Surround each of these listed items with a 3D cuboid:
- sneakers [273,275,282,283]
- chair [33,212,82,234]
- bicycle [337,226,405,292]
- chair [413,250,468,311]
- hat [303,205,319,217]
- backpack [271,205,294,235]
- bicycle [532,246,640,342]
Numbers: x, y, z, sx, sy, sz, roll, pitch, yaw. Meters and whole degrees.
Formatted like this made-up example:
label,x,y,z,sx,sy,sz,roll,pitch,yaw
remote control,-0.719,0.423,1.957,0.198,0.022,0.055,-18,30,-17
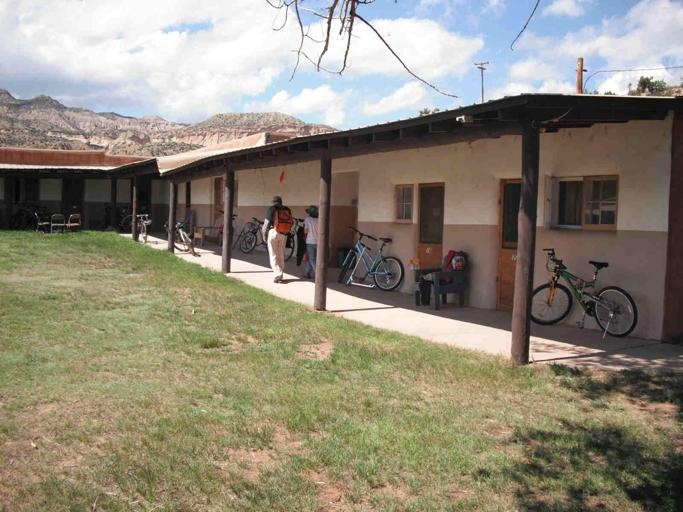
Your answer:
label,x,y,z,sx,sy,sz,roll,pitch,yaw
sneakers,-1.334,0.471,12.577,0.186,0.166,0.305,1,14,-2
chair,-10.845,-1.225,22.812,0.959,0.530,1.012,1,6,-8
bicycle,0.605,0.138,12.717,1.854,1.196,0.793,7,-6,40
chair,1.748,0.416,10.682,0.798,0.971,0.703,-1,2,-22
hat,-0.652,-0.937,13.245,0.261,0.253,0.416,-1,17,-16
backpack,-1.222,-0.727,12.499,0.464,0.624,0.255,-6,15,-28
bicycle,3.541,0.542,8.953,0.691,1.178,1.765,-6,4,-35
